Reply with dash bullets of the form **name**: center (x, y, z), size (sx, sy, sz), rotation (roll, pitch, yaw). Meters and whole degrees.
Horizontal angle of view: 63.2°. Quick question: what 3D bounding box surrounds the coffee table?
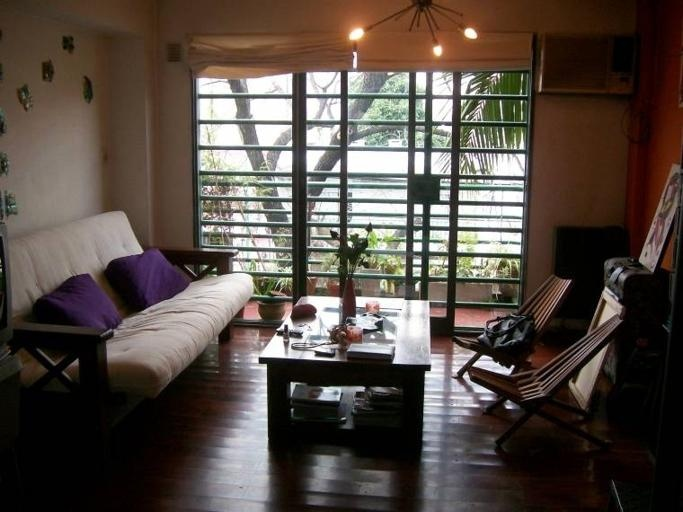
- **coffee table**: center (0.082, 0.709, 3.575), size (0.940, 0.514, 1.079), rotation (3, 15, 9)

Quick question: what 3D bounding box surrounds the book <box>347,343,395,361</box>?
- **book**: center (0.173, 0.530, 3.201), size (0.269, 0.043, 0.246), rotation (3, 15, 7)

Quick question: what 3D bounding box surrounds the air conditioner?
- **air conditioner**: center (2.037, -1.563, 4.602), size (0.717, 0.473, 0.258), rotation (7, 8, 17)

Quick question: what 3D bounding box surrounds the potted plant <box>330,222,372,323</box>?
- **potted plant**: center (0.115, 0.014, 3.942), size (0.202, 0.353, 0.217), rotation (21, 22, 21)

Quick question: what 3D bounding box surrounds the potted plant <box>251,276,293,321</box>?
- **potted plant**: center (-0.639, 0.378, 5.093), size (0.340, 0.426, 0.214), rotation (2, 10, 8)

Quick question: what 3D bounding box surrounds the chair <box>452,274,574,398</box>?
- **chair**: center (1.270, 0.487, 4.065), size (0.852, 1.088, 0.663), rotation (6, 3, 1)

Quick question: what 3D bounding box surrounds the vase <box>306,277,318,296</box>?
- **vase**: center (-0.241, 0.274, 5.120), size (0.134, 0.157, 0.134), rotation (-1, -3, 4)

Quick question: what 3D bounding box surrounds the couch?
- **couch**: center (-1.469, 0.321, 3.654), size (1.151, 1.249, 2.011), rotation (2, 15, 6)

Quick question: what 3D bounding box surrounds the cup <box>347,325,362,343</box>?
- **cup**: center (0.082, 0.471, 3.354), size (0.081, 0.065, 0.073), rotation (2, 0, -1)

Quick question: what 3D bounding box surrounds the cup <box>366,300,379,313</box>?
- **cup**: center (0.222, 0.352, 3.878), size (0.069, 0.055, 0.070), rotation (2, 2, 0)

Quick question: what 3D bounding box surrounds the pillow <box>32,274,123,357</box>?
- **pillow**: center (-1.676, 0.331, 3.492), size (0.380, 0.305, 0.503), rotation (6, 15, 19)

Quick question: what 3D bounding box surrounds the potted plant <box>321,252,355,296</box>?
- **potted plant**: center (-0.077, 0.170, 4.949), size (0.314, 0.482, 0.327), rotation (-1, 0, -1)

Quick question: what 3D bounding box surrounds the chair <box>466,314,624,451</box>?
- **chair**: center (1.197, 0.718, 3.460), size (0.859, 0.859, 0.654), rotation (-5, 3, 9)
